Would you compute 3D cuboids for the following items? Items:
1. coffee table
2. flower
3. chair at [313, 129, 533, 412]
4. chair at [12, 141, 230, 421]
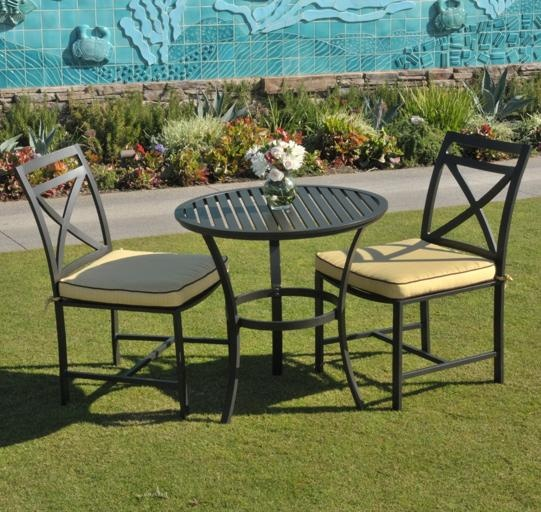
[{"bbox_3d":[0.086,0.205,2.964,1.020,0.883,0.972,-4,14,0],"label":"coffee table"},{"bbox_3d":[0.034,-0.425,3.058,0.316,0.346,0.349,5,21,31],"label":"flower"},{"bbox_3d":[0.696,0.036,3.053,0.862,1.082,0.711,-11,17,-29],"label":"chair"},{"bbox_3d":[-0.630,0.090,2.962,0.900,1.041,0.727,2,16,0],"label":"chair"}]
